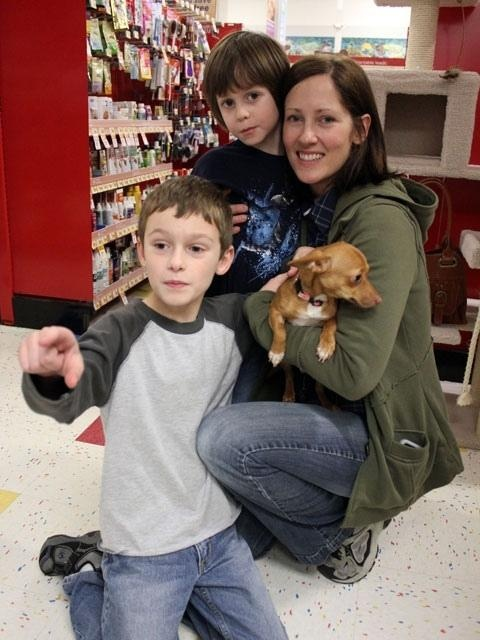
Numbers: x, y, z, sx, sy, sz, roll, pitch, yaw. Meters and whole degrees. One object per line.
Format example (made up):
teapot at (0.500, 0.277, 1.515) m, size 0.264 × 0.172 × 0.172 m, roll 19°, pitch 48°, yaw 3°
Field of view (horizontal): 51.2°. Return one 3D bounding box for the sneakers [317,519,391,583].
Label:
sneakers at (0.309, 0.679, 1.494) m, size 0.140 × 0.223 × 0.066 m, roll 31°, pitch 19°, yaw -52°

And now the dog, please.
dog at (0.198, -0.091, 1.275) m, size 0.197 × 0.341 × 0.397 m, roll 12°, pitch 36°, yaw -5°
